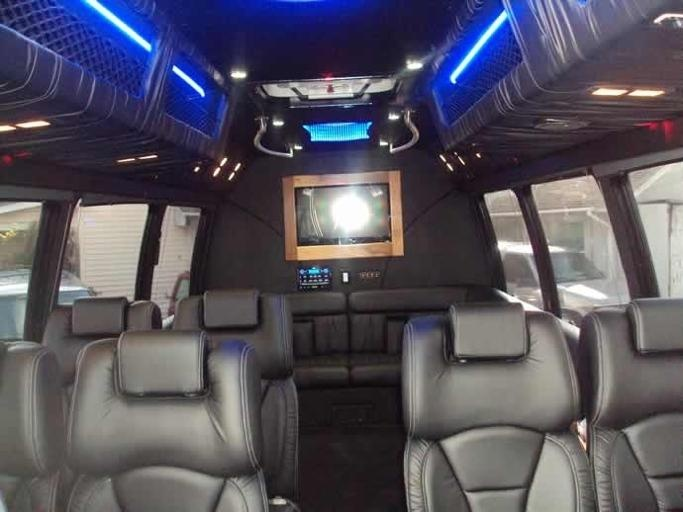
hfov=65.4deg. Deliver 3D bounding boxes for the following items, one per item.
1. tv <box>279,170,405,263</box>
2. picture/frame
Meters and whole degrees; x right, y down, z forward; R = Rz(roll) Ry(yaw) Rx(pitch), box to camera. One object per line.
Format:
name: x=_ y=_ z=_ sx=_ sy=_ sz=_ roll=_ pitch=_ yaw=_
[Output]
tv: x=0.063 y=-0.386 z=5.276 sx=0.801 sy=0.662 sz=0.094 roll=-2 pitch=-5 yaw=0
picture/frame: x=0.059 y=-0.383 z=5.276 sx=0.809 sy=0.669 sz=0.095 roll=-2 pitch=-5 yaw=0
